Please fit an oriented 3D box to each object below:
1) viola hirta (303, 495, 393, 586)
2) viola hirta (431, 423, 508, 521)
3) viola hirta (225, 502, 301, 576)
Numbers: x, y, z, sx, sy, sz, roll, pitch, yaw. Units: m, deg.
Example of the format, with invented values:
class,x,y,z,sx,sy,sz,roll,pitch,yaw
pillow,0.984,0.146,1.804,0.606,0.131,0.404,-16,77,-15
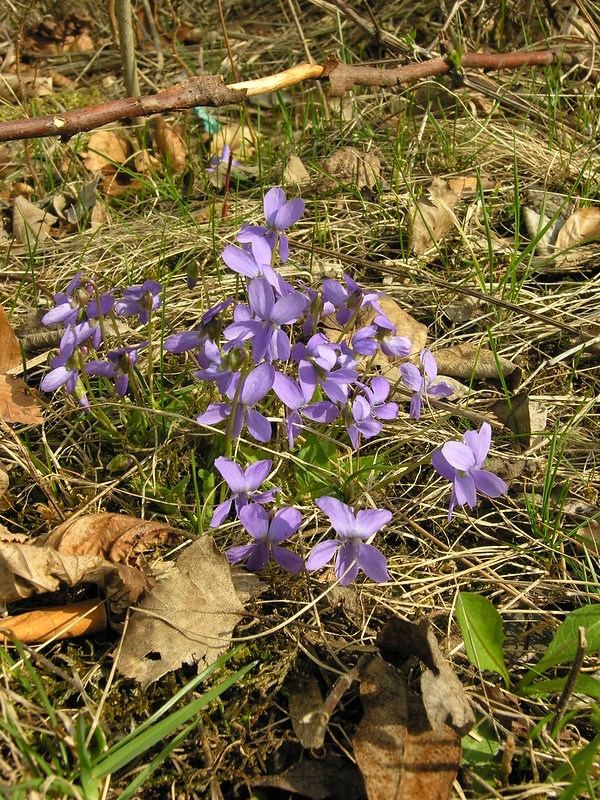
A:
class,x,y,z,sx,sy,sz,roll,pitch,yaw
viola hirta,0.104,0.328,1.637,0.163,0.293,0.132,4,53,5
viola hirta,0.351,0.148,1.666,0.174,0.068,0.158,-10,24,-26
viola hirta,-0.071,0.315,1.724,0.176,0.208,0.094,11,54,10
